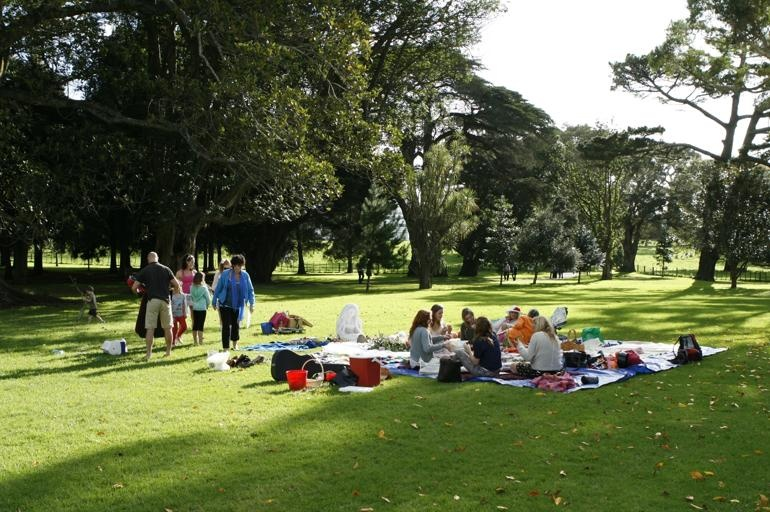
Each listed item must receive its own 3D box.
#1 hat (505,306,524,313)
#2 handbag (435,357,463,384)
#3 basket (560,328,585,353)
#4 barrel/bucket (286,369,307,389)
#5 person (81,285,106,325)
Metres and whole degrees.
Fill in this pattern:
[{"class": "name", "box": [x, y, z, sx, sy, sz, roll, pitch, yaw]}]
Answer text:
[{"class": "hat", "box": [4.573, 1.919, 26.495, 0.596, 0.218, 0.604, 0, -2, 3]}, {"class": "handbag", "box": [1.953, 3.531, 22.878, 0.710, 0.699, 0.711, -3, -6, 26]}, {"class": "basket", "box": [6.384, 2.884, 25.505, 0.791, 0.825, 0.867, -3, -13, 15]}, {"class": "barrel/bucket", "box": [-2.645, 3.703, 22.393, 0.517, 0.402, 0.540, 0, -5, 0]}, {"class": "person", "box": [-13.187, 2.275, 33.673, 1.270, 1.658, 0.740, 7, 21, -7]}]
